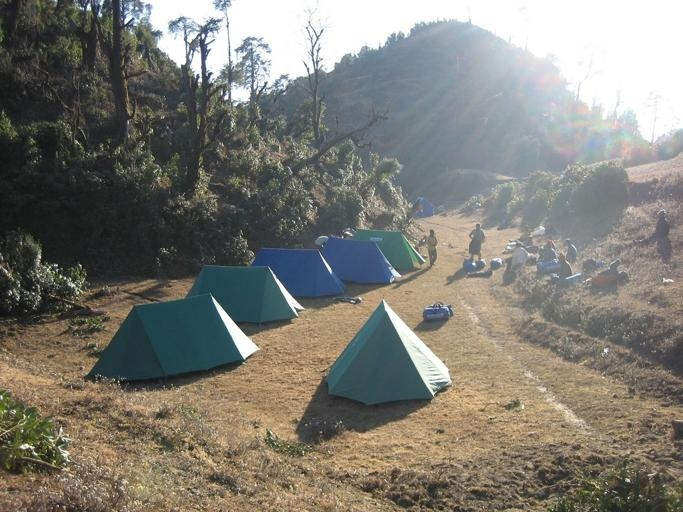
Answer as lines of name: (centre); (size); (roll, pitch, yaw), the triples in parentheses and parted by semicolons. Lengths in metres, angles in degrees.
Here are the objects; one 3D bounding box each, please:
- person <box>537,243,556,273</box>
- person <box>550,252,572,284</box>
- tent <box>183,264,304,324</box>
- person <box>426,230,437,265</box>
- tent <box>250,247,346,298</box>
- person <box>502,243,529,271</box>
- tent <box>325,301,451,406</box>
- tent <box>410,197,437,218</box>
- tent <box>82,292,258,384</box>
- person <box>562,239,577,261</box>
person: (9.553, 0.115, 33.264); (0.779, 1.671, 0.720); (-12, -27, 30)
person: (9.520, 0.608, 30.937); (0.723, 2.206, 0.531); (6, -7, -44)
tent: (-3.805, 1.476, 28.670); (2.961, 1.538, 2.536); (2, 7, 11)
person: (4.634, -0.399, 36.957); (0.511, 1.855, 1.287); (8, 7, 13)
tent: (-1.939, 0.692, 31.950); (2.801, 1.404, 2.350); (5, 10, 8)
person: (8.623, 0.125, 34.814); (0.980, 1.814, 0.879); (-1, -29, 34)
tent: (1.220, 4.024, 24.491); (3.230, 2.472, 3.433); (-7, 13, -27)
tent: (7.112, -4.549, 62.681); (1.820, 2.154, 1.917); (-18, -7, -2)
tent: (-5.741, 2.941, 24.643); (3.652, 1.849, 2.958); (-5, -5, -43)
person: (10.665, -0.277, 33.738); (0.545, 1.149, 1.849); (-2, 15, 13)
